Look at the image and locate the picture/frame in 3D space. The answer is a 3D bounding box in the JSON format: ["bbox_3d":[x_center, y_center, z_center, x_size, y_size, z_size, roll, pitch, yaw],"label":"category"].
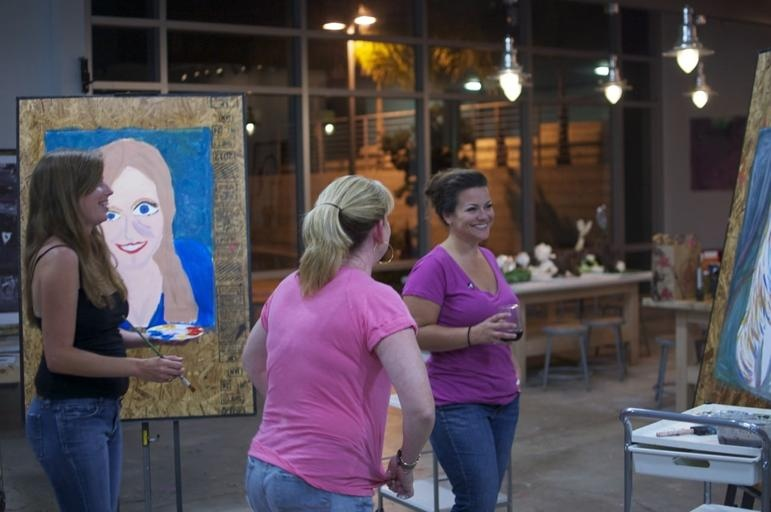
[{"bbox_3d":[-1.691,0.024,6.556,1.602,2.369,0.179,0,0,-17],"label":"picture/frame"}]

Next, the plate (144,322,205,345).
[{"bbox_3d":[-1.498,0.544,6.949,0.263,0.073,0.189,8,4,-24],"label":"plate"}]

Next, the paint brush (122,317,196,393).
[{"bbox_3d":[-1.520,0.681,6.555,0.076,0.708,0.060,-40,4,22],"label":"paint brush"}]

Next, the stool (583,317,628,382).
[{"bbox_3d":[2.508,1.014,11.064,0.441,0.677,0.766,-1,3,14],"label":"stool"}]

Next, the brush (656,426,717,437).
[{"bbox_3d":[1.857,1.075,5.976,0.190,0.054,0.042,-4,40,-2],"label":"brush"}]

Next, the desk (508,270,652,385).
[{"bbox_3d":[2.200,0.386,11.227,2.152,1.139,1.180,-5,7,-25],"label":"desk"}]
